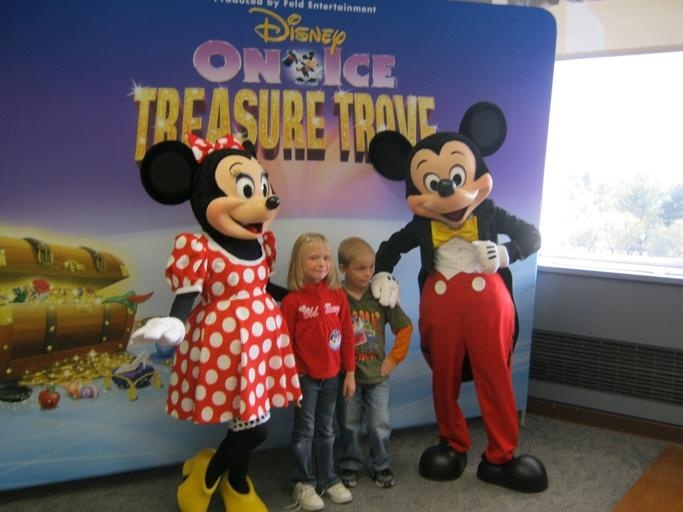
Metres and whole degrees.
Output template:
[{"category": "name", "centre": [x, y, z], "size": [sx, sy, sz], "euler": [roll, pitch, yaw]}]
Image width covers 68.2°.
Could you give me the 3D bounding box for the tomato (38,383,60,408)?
[{"category": "tomato", "centre": [-1.431, 0.676, 2.455], "size": [0.067, 0.100, 0.070], "euler": [32, 14, 16]}]

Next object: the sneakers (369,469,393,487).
[{"category": "sneakers", "centre": [0.205, 1.102, 2.539], "size": [0.127, 0.074, 0.099], "euler": [2, 14, 5]}]

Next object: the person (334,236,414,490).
[{"category": "person", "centre": [0.130, 0.566, 2.596], "size": [0.480, 1.321, 0.333], "euler": [-4, 12, -15]}]
